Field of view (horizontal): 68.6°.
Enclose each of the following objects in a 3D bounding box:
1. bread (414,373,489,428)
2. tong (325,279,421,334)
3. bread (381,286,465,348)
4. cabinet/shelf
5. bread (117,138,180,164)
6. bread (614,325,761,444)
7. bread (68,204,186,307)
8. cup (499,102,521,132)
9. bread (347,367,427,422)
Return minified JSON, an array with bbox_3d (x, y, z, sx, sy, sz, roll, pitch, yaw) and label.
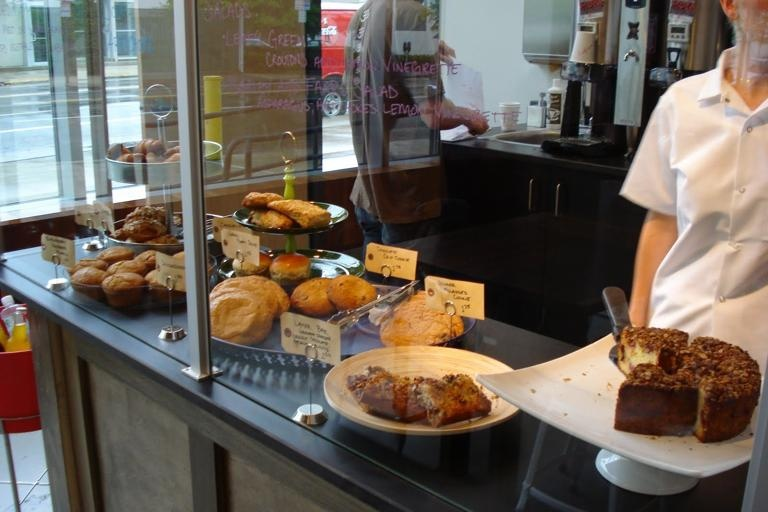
[{"bbox_3d":[0.144,0.266,1.064,0.118,0.036,0.108,-1,15,-9],"label":"bread"},{"bbox_3d":[-0.017,0.118,1.256,0.181,0.025,0.042,-27,45,-8],"label":"tong"},{"bbox_3d":[0.082,0.132,1.210,0.144,0.032,0.132,3,30,9],"label":"bread"},{"bbox_3d":[0.409,-0.098,1.310,0.420,0.410,0.241,14,47,27],"label":"cabinet/shelf"},{"bbox_3d":[-0.760,-0.328,1.823,0.155,0.040,0.154,4,8,26],"label":"bread"},{"bbox_3d":[0.483,0.207,0.904,0.184,0.060,0.187,8,26,33],"label":"bread"},{"bbox_3d":[-0.798,0.034,1.806,0.338,0.116,0.388,10,35,3],"label":"bread"},{"bbox_3d":[0.272,-0.301,1.227,0.055,0.057,0.053,-2,19,1],"label":"cup"},{"bbox_3d":[0.006,0.293,1.184,0.153,0.074,0.046,20,-14,32],"label":"bread"}]
